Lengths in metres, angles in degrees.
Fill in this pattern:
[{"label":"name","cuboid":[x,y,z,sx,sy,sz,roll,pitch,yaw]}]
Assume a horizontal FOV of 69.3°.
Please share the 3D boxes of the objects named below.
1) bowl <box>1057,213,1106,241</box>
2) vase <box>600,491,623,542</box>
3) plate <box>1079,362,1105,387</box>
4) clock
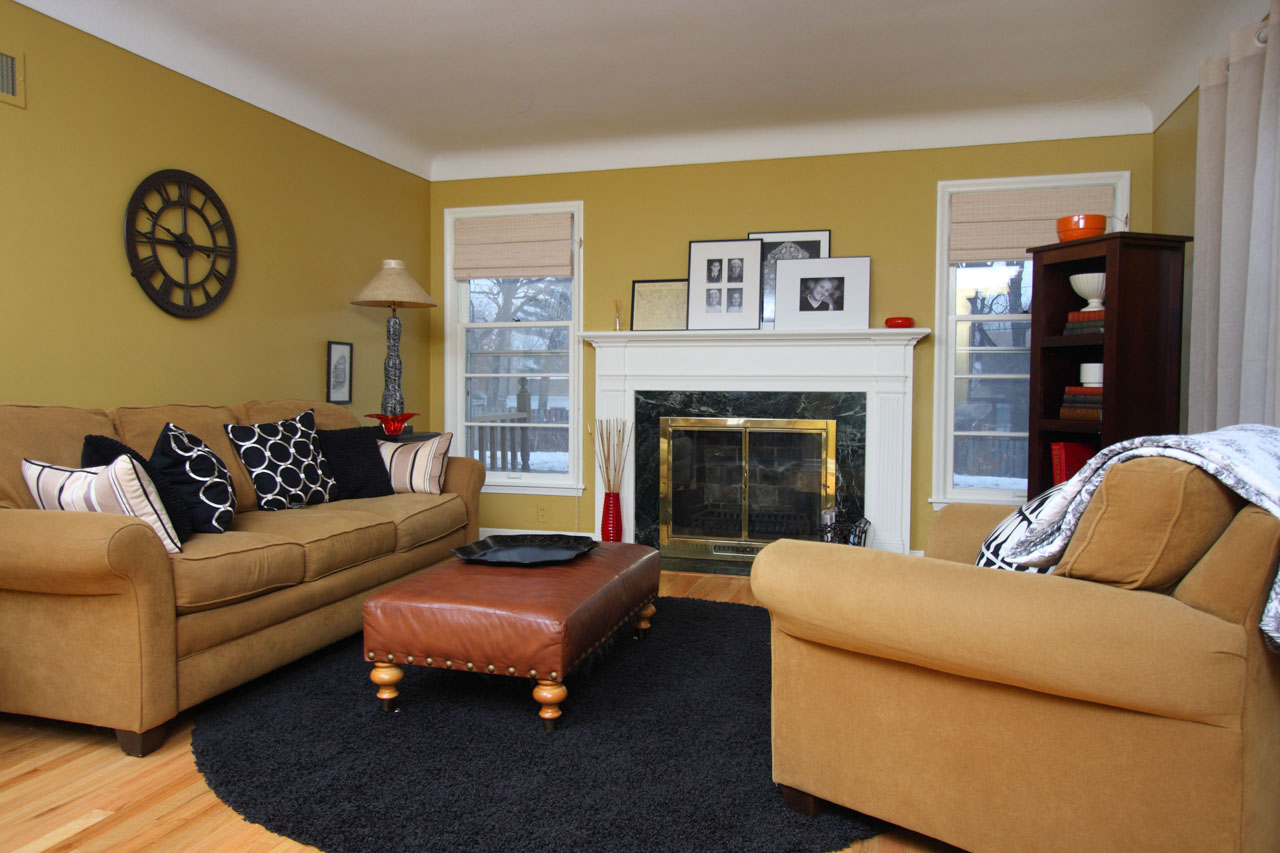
[{"label":"bowl","cuboid":[2.559,-1.159,5.359,0.221,0.136,0.225,1,-5,0]},{"label":"vase","cuboid":[-0.174,0.617,6.390,0.160,0.326,0.185,-1,6,-11]},{"label":"plate","cuboid":[2.581,-0.286,5.278,0.156,0.101,0.097,1,-3,17]},{"label":"clock","cuboid":[-2.514,-0.993,5.108,0.086,0.819,0.617,3,7,28]}]
